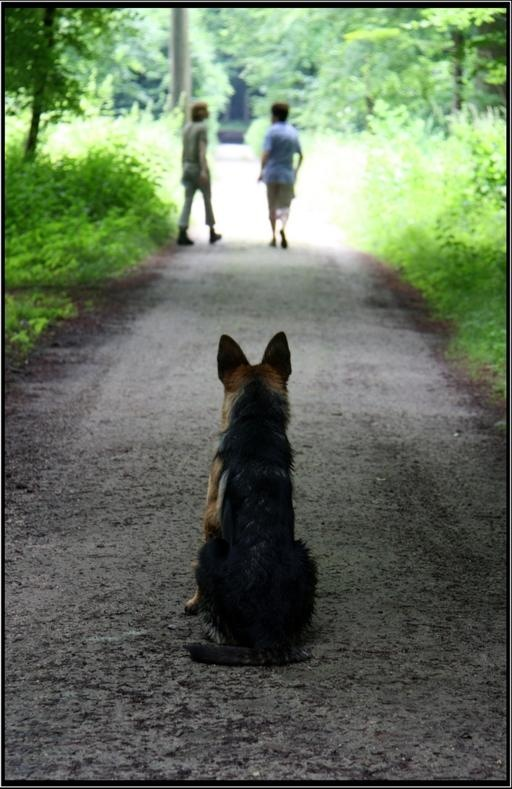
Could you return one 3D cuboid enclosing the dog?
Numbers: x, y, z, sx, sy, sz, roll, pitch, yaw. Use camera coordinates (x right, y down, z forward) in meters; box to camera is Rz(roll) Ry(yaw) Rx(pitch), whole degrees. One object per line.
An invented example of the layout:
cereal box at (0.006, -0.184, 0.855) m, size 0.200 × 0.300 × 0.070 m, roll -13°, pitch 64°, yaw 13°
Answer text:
dog at (-0.010, 0.519, 4.794) m, size 0.658 × 1.329 × 1.827 m, roll 5°, pitch 25°, yaw -8°
